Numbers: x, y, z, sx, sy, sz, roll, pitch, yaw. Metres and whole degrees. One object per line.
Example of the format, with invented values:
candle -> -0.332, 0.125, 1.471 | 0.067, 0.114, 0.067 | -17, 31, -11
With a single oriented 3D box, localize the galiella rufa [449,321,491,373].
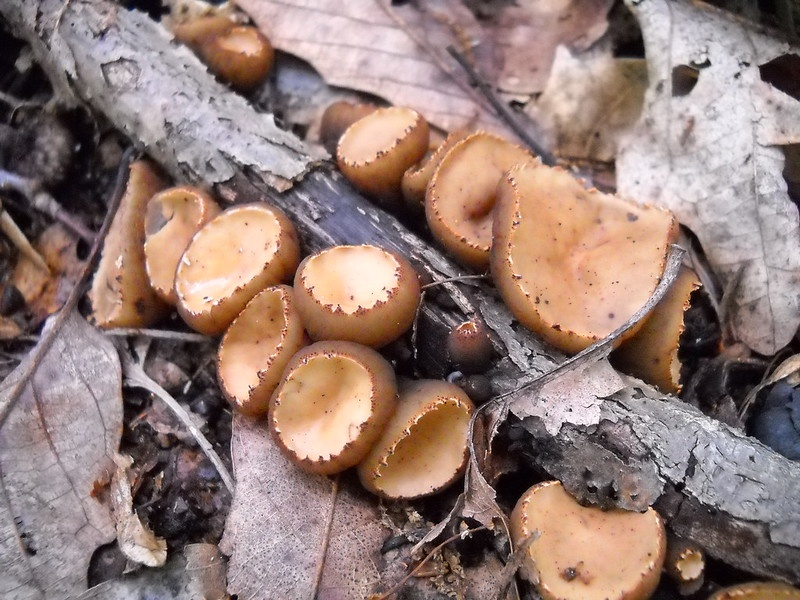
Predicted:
galiella rufa -> 0.429, 0.292, 5.464 | 0.289, 0.202, 0.253 | 23, 74, 3

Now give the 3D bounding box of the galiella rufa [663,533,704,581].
galiella rufa -> 1.614, 1.487, 5.195 | 0.243, 0.123, 0.223 | 15, 74, 1
